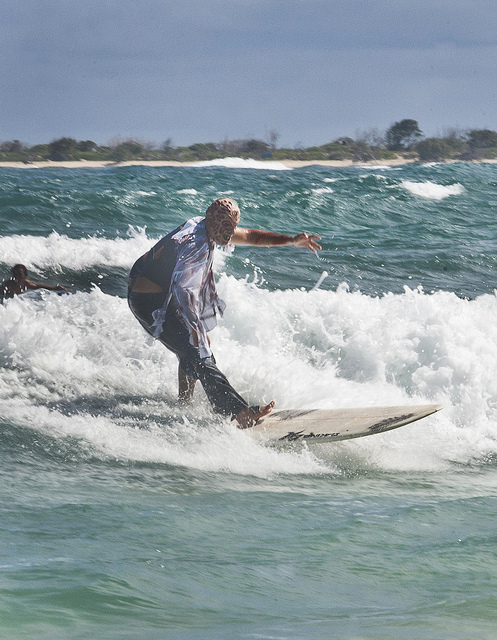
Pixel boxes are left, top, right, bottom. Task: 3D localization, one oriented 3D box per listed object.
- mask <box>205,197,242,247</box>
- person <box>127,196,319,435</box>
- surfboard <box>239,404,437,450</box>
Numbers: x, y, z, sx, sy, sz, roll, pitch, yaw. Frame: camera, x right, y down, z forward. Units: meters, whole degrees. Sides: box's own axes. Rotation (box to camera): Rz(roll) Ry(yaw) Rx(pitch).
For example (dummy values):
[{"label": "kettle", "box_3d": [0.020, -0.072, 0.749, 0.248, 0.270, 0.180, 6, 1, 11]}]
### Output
[{"label": "mask", "box_3d": [-0.177, -0.635, 5.871, 0.212, 0.316, 0.255, 11, 11, -2]}, {"label": "person", "box_3d": [-0.286, -0.061, 6.055, 1.076, 1.539, 0.699, 10, 13, -8]}, {"label": "surfboard", "box_3d": [0.619, 0.759, 6.279, 1.508, 0.146, 0.301, -5, 19, -8]}]
